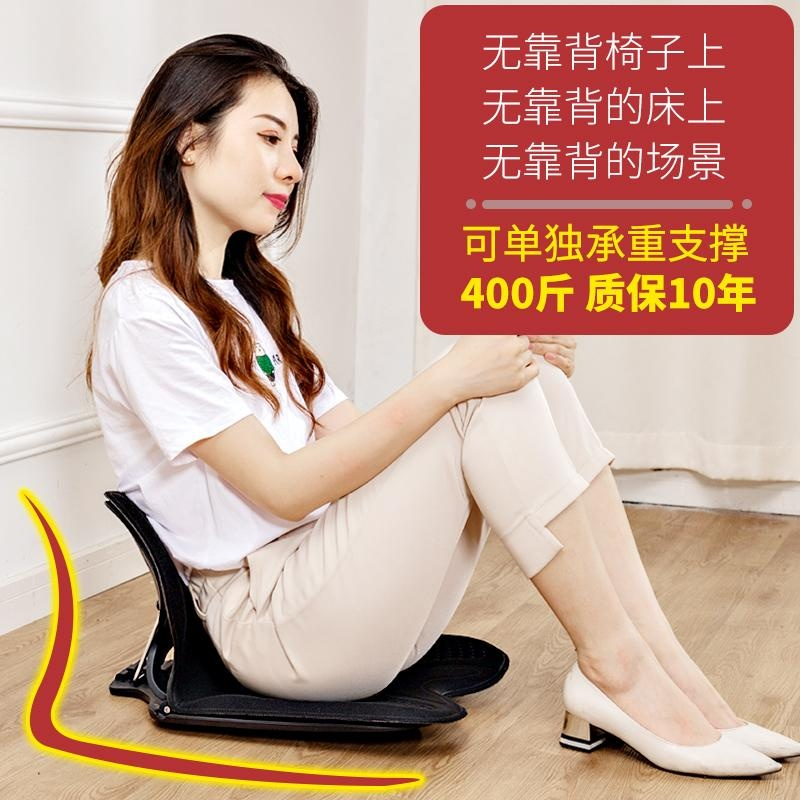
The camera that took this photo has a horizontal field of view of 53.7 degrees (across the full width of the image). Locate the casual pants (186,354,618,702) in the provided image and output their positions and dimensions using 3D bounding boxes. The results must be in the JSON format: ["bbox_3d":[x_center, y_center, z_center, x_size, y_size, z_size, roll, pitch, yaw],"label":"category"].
[{"bbox_3d":[-0.002,0.202,1.334,0.611,0.562,0.376,-22,-5,13],"label":"casual pants"}]

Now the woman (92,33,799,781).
[{"bbox_3d":[-0.138,0.017,1.651,1.347,1.277,0.688,-2,1,5],"label":"woman"}]

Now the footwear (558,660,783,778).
[{"bbox_3d":[0.334,0.428,1.079,0.323,0.132,0.106,5,4,16],"label":"footwear"}]

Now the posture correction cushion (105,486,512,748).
[{"bbox_3d":[-0.124,0.283,1.222,0.550,0.290,0.391,1,-1,5],"label":"posture correction cushion"}]
